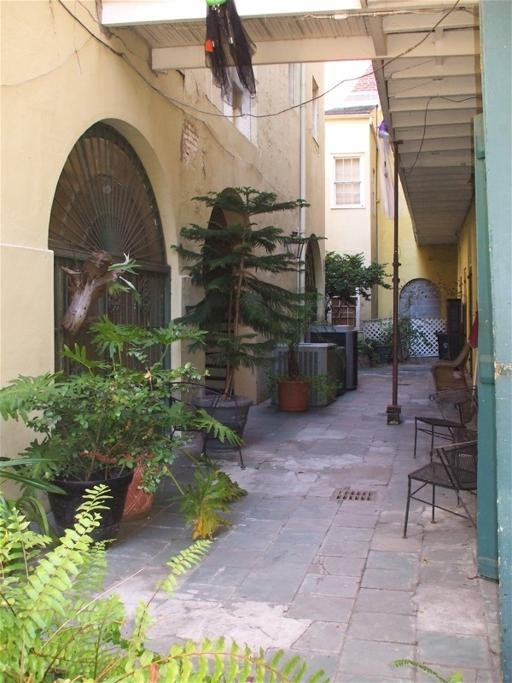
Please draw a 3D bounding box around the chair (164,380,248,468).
[{"bbox_3d":[-0.459,0.708,5.712,0.835,0.885,0.865,0,1,15],"label":"chair"}]

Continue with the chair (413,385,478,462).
[{"bbox_3d":[1.931,0.870,5.972,0.520,0.584,0.436,-6,17,-29],"label":"chair"}]

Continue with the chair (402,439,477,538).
[{"bbox_3d":[1.226,1.001,3.856,0.502,0.668,0.550,2,-2,29],"label":"chair"}]

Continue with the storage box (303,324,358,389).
[{"bbox_3d":[1.584,0.264,10.885,1.240,1.447,1.070,2,5,23],"label":"storage box"}]

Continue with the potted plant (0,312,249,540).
[{"bbox_3d":[-0.779,0.504,3.496,1.577,1.344,1.140,2,0,13],"label":"potted plant"}]
